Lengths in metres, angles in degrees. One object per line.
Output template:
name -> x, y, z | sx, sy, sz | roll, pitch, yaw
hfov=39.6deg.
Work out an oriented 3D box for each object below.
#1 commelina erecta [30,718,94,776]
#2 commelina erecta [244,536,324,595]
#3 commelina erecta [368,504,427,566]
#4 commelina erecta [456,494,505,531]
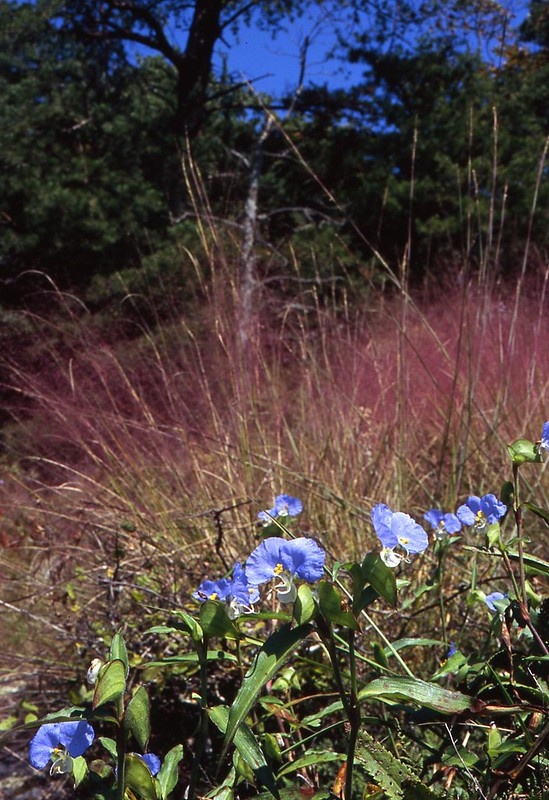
commelina erecta -> -0.317, 0.514, 1.127 | 0.104, 0.036, 0.076 | -8, 14, -24
commelina erecta -> 0.018, 0.224, 1.058 | 0.078, 0.080, 0.036 | 23, 7, 29
commelina erecta -> 0.202, 0.199, 1.147 | 0.080, 0.088, 0.065 | -5, 35, 35
commelina erecta -> 0.382, 0.216, 1.387 | 0.072, 0.038, 0.071 | -12, 48, 37
